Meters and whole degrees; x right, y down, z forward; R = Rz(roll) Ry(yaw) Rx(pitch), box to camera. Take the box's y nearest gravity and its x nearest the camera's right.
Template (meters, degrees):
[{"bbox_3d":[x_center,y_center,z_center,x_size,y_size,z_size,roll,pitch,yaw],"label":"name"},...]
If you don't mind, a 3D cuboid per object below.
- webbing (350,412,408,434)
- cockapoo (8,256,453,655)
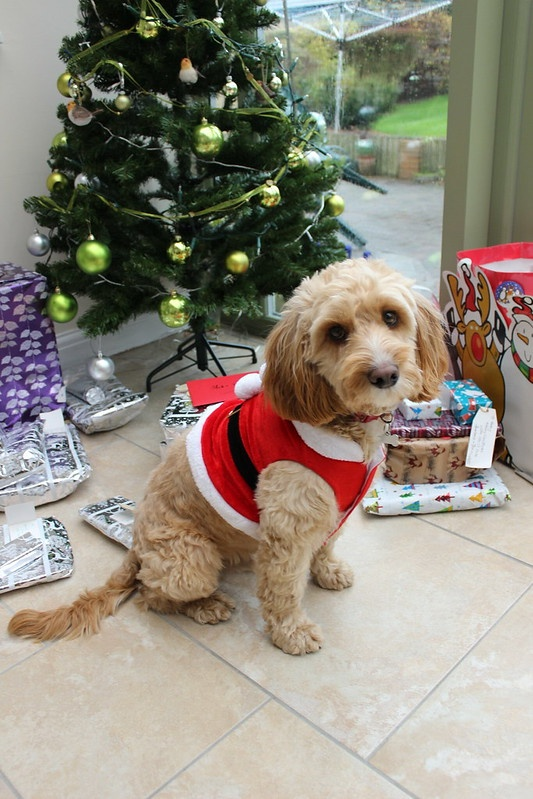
[{"bbox_3d":[0.217,0.050,1.414,0.090,0.052,0.025,-11,18,-25],"label":"webbing"},{"bbox_3d":[-0.008,0.109,1.849,0.930,0.942,1.098,23,27,37],"label":"cockapoo"}]
